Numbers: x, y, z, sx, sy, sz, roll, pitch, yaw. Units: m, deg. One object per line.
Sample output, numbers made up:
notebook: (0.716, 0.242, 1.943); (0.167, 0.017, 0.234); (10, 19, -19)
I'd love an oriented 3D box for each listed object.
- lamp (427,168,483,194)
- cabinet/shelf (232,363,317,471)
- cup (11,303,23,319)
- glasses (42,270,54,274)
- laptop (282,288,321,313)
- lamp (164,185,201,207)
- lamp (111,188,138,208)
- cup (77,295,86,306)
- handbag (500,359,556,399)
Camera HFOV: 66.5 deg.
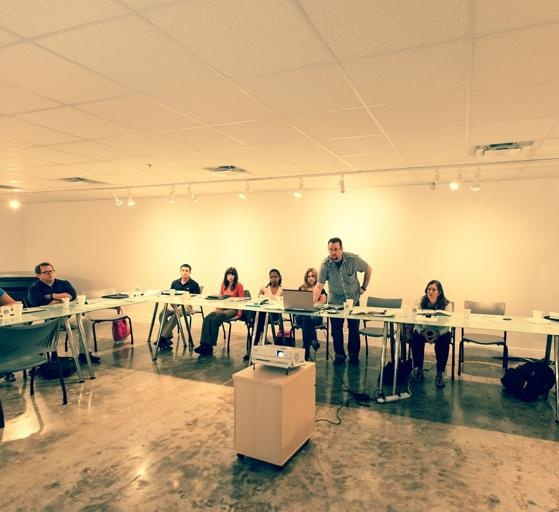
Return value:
lamp: (2.365, -1.002, 5.675); (0.663, 0.198, 0.250); (1, -36, 7)
cabinet/shelf: (-0.040, 1.172, 3.287); (0.437, 0.652, 0.547); (3, 5, 29)
cup: (-2.902, 0.609, 4.701); (0.147, 0.149, 0.140); (-3, -6, 0)
glasses: (-3.110, 0.212, 5.742); (0.043, 0.052, 0.117); (2, 4, 21)
laptop: (0.209, 0.484, 4.728); (0.355, 0.225, 0.249); (-1, 4, 30)
lamp: (-1.708, -1.103, 7.458); (0.525, 0.140, 0.587); (-6, -6, 35)
lamp: (-2.840, -1.070, 7.844); (0.644, 0.251, 0.542); (-3, 20, 1)
cup: (-2.402, 0.525, 5.177); (0.155, 0.146, 0.147); (-1, -4, 0)
handbag: (2.539, 1.249, 4.362); (0.477, 0.367, 0.291); (2, 5, 30)
